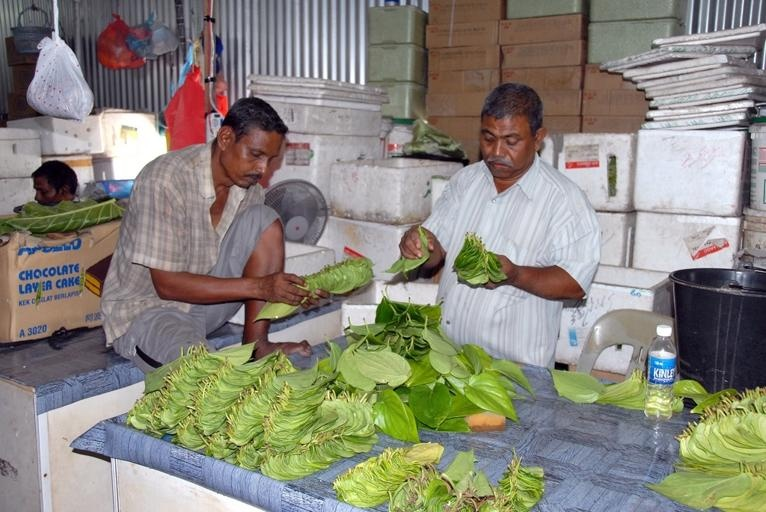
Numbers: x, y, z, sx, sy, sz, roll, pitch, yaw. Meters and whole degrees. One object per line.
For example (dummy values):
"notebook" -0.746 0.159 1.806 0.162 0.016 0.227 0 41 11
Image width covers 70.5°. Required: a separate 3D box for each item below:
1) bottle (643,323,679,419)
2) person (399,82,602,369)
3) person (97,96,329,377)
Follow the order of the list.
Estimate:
"bottle" 0.962 0.396 1.868 0.095 0.264 0.211 6 13 27
"person" 0.572 -0.120 2.604 0.864 1.390 0.624 6 13 27
"person" -0.882 -0.112 2.617 0.920 1.297 0.847 -7 13 -28
